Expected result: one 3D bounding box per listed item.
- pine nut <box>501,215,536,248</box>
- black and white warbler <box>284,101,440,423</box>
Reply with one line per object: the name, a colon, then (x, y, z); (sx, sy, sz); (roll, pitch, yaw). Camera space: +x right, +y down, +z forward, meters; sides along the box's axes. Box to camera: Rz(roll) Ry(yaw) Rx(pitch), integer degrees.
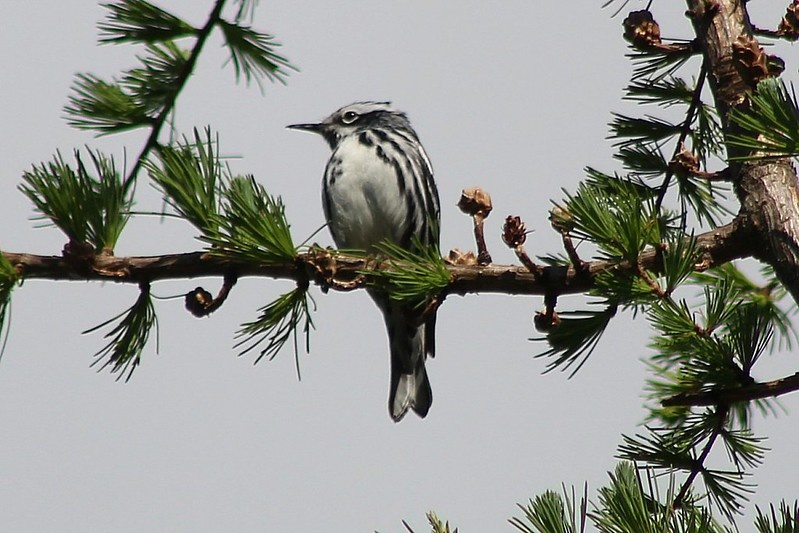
pine nut: (0.303, -0.098, 4.589); (0.097, 0.071, 0.117); (4, -98, -28)
black and white warbler: (-0.068, -0.158, 7.306); (0.557, 0.663, 1.503); (-10, -81, 17)
